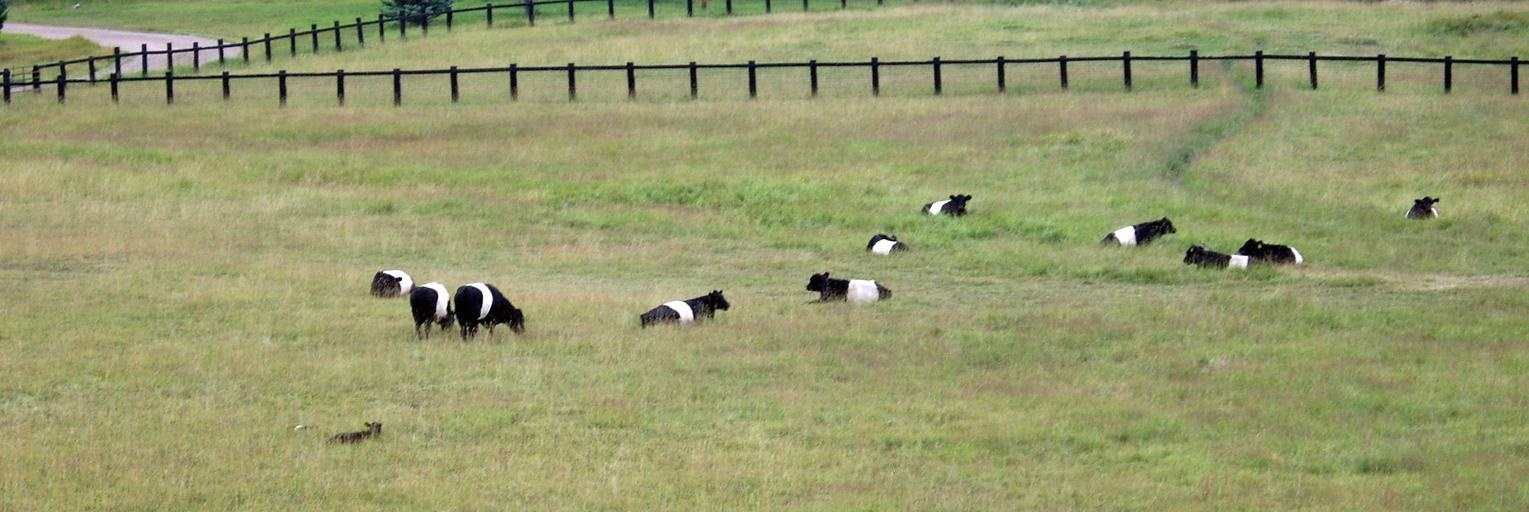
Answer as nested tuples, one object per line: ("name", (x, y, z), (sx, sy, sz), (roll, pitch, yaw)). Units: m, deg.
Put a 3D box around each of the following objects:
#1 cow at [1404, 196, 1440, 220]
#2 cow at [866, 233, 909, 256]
("cow", (45.113, -3.195, 172.065), (2.612, 1.209, 1.419), (-12, -8, 34))
("cow", (8.257, -0.833, 170.302), (2.728, 1.227, 0.917), (-1, 10, 2))
